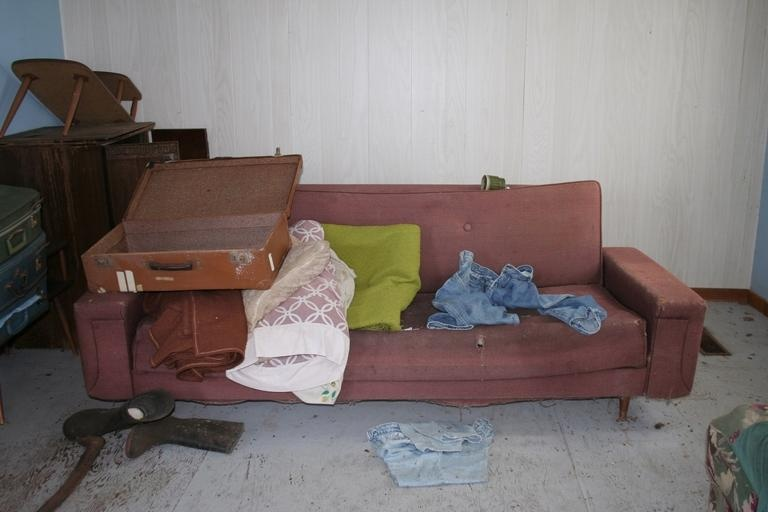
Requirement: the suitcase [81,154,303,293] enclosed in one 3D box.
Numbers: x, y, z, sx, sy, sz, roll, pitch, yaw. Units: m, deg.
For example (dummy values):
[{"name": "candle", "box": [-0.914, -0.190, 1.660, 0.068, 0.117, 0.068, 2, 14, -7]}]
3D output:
[{"name": "suitcase", "box": [-0.925, -0.181, 2.881, 0.789, 0.381, 0.798, -1, 39, 9]}]
